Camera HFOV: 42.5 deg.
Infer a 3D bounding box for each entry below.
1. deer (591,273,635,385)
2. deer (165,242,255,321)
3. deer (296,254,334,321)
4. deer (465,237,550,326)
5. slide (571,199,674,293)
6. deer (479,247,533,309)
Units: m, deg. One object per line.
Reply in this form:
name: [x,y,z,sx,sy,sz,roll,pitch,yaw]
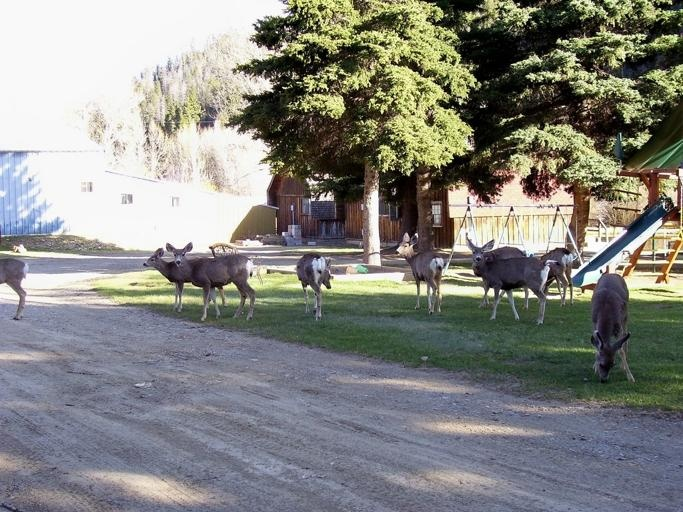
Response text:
deer: [5.425,1.468,17.628,0.814,1.594,2.235,3,15,16]
deer: [-3.268,0.733,22.786,2.199,1.940,1.069,5,14,20]
deer: [-0.643,0.889,22.990,0.873,1.778,0.940,1,7,-18]
deer: [4.745,0.643,22.202,2.720,2.294,1.030,3,6,39]
slide: [9.039,0.071,28.144,2.886,3.248,2.361,0,8,3]
deer: [4.472,0.656,24.005,2.269,1.918,0.696,2,2,-30]
